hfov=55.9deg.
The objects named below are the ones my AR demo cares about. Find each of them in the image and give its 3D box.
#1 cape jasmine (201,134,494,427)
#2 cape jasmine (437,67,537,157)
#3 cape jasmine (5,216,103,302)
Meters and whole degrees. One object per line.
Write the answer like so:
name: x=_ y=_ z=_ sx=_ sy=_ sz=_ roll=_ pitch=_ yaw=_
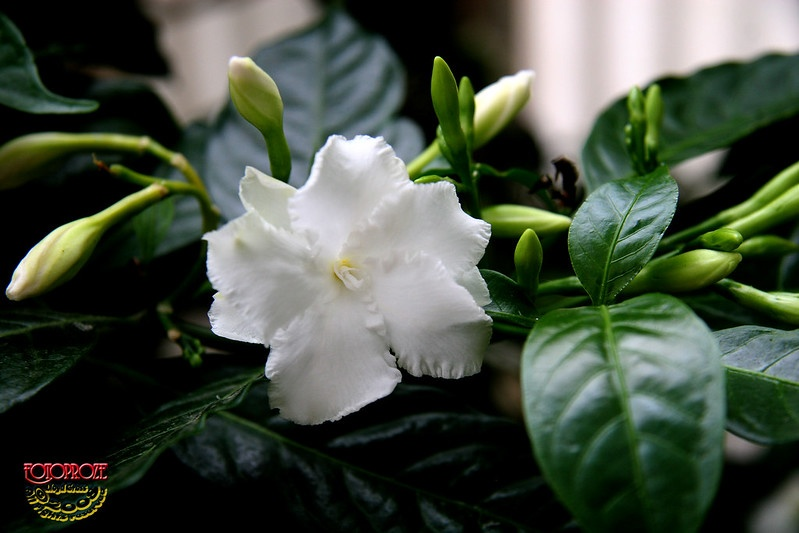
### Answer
cape jasmine: x=-0.078 y=0.014 z=1.204 sx=0.458 sy=0.385 sz=0.222 roll=-10 pitch=32 yaw=-5
cape jasmine: x=0.169 y=-0.281 z=1.389 sx=0.206 sy=0.070 sz=0.076 roll=-46 pitch=-4 yaw=4
cape jasmine: x=-0.545 y=-0.030 z=1.281 sx=0.212 sy=0.082 sz=0.073 roll=-30 pitch=70 yaw=-29
